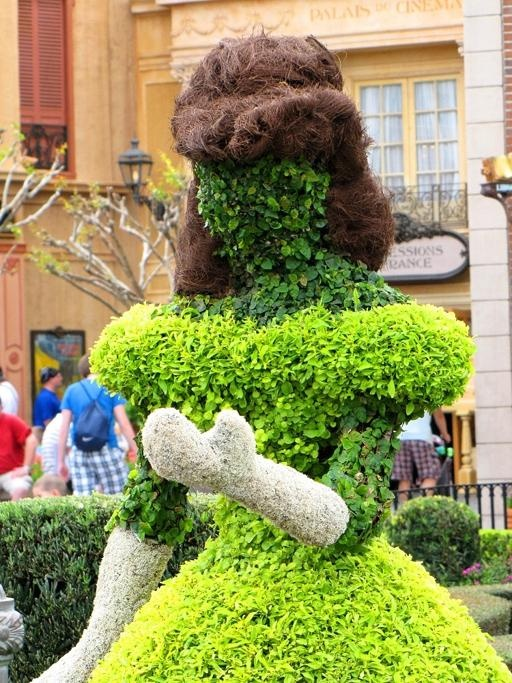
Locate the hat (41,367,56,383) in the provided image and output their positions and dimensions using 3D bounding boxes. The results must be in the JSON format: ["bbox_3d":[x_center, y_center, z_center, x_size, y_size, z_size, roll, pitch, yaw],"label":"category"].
[{"bbox_3d":[-1.706,0.281,13.381,0.106,0.127,0.128,5,0,-42],"label":"hat"}]

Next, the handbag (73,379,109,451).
[{"bbox_3d":[-1.092,0.496,10.864,0.193,0.445,0.190,6,1,24],"label":"handbag"}]

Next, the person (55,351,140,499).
[{"bbox_3d":[-1.079,0.695,11.091,0.566,1.358,0.256,2,18,-2],"label":"person"}]
